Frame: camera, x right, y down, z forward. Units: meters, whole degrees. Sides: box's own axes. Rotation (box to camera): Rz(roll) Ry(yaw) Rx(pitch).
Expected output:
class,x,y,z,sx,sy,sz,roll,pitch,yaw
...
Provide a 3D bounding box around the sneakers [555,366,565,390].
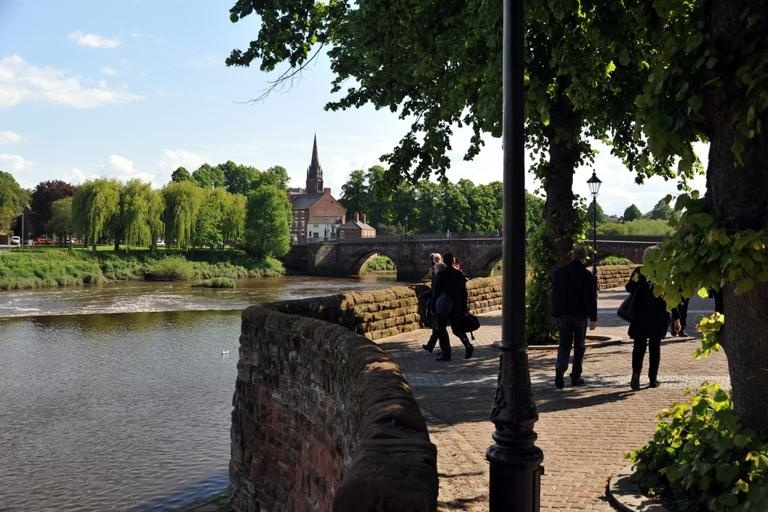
class,x,y,z,sx,sy,sz,roll,pitch,yaw
sneakers,2.888,2.010,13.801,0.142,0.342,0.217,-4,-10,18

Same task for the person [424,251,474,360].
class,x,y,z,sx,sy,sz,roll,pitch,yaw
person,1.301,0.972,16.100,0.777,2.031,0.572,2,0,-9

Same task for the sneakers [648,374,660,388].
class,x,y,z,sx,sy,sz,roll,pitch,yaw
sneakers,4.436,2.048,13.711,0.115,0.237,0.233,5,6,38

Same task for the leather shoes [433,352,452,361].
class,x,y,z,sx,sy,sz,roll,pitch,yaw
leather shoes,1.099,1.936,16.162,0.378,0.177,0.133,1,0,40

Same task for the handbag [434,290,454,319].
class,x,y,z,sx,sy,sz,roll,pitch,yaw
handbag,1.125,0.926,15.904,0.329,0.496,0.211,2,0,3

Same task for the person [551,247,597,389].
class,x,y,z,sx,sy,sz,roll,pitch,yaw
person,3.200,1.011,14.175,0.741,2.366,1.064,2,0,11

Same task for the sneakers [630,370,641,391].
class,x,y,z,sx,sy,sz,roll,pitch,yaw
sneakers,4.020,2.007,13.484,0.120,0.352,0.245,-2,-2,13

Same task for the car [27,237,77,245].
class,x,y,z,sx,sy,sz,roll,pitch,yaw
car,-35.183,-1.595,89.091,5.668,0.895,0.943,-3,0,16
